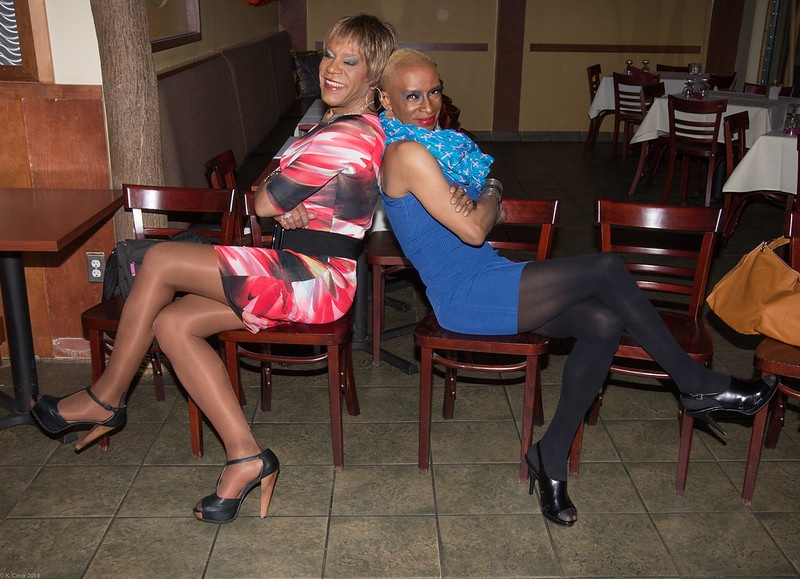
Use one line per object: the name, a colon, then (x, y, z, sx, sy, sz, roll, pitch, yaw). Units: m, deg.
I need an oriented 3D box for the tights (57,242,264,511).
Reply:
tights: (-0.810, 0.209, 2.220, 0.660, 0.748, 0.284, 6, 25, 14)

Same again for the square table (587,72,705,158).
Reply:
square table: (3.018, -2.314, 7.470, 1.311, 0.539, 1.374, 19, 20, 40)

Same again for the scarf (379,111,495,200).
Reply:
scarf: (0.195, -0.466, 2.406, 0.373, 0.214, 0.509, 18, 1, 32)

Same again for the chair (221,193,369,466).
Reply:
chair: (-0.441, 0.207, 2.601, 0.586, 0.825, 0.535, 2, 9, 16)
